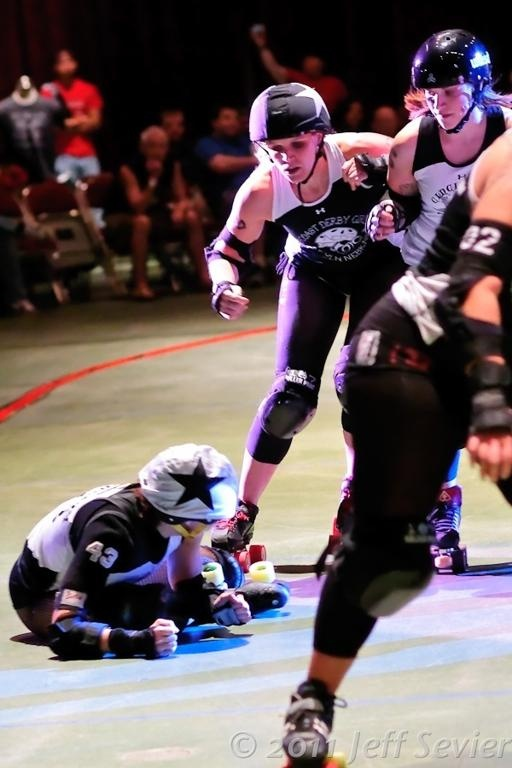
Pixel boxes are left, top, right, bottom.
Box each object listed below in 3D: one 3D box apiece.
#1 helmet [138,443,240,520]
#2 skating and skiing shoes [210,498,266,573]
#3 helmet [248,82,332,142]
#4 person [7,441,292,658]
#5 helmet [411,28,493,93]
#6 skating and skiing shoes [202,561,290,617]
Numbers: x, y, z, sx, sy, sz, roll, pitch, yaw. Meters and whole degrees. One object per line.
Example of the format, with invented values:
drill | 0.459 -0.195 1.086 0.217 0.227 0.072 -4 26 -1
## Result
helmet | -0.185 0.246 1.919 0.263 0.173 0.180 7 1 -14
skating and skiing shoes | -0.058 0.551 2.704 0.197 0.183 0.265 4 -6 24
helmet | 0.109 -0.925 2.437 0.259 0.152 0.275 15 33 40
person | -0.319 0.354 2.033 0.619 0.463 0.749 3 -1 22
helmet | 0.566 -0.940 2.194 0.212 0.199 0.273 18 39 35
skating and skiing shoes | -0.026 0.573 2.091 0.196 0.066 0.195 16 1 35
